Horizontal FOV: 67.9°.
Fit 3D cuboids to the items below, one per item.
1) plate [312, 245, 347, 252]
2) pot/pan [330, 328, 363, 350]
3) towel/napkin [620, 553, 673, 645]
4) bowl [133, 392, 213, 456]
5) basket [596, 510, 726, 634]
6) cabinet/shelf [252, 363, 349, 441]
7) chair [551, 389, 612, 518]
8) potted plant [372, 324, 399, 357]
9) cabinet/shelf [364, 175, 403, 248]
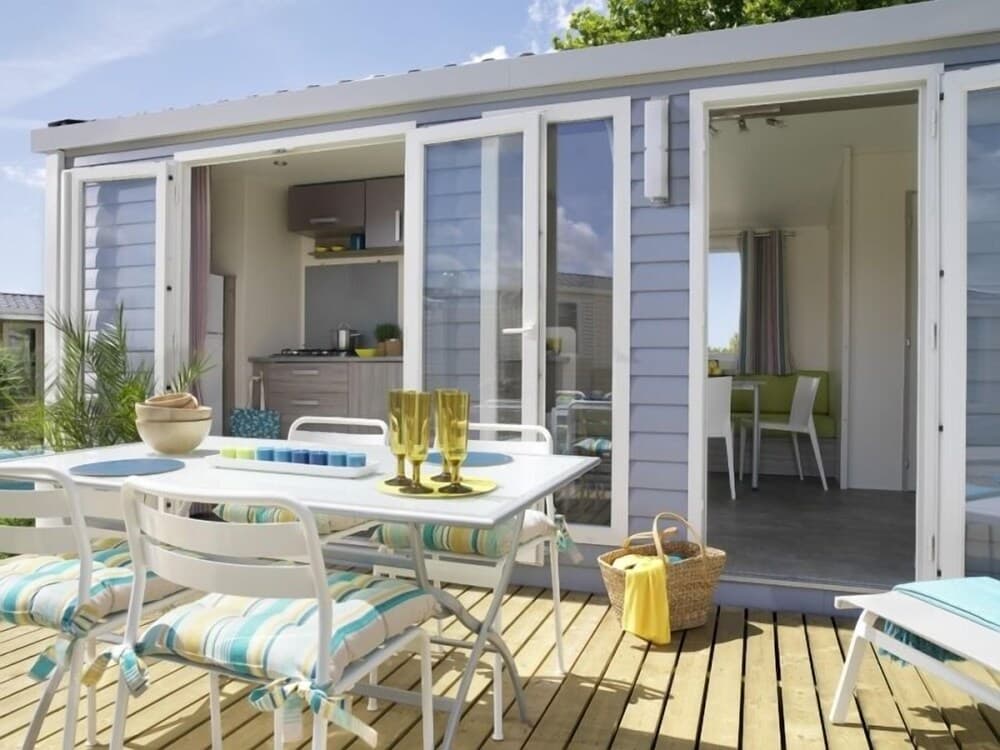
[{"bbox_3d":[-1.590,-1.175,6.927,0.432,0.063,0.149,6,12,31],"label":"plate"},{"bbox_3d":[-1.380,-0.339,6.731,0.304,0.186,0.311,-2,10,-11],"label":"pot/pan"},{"bbox_3d":[0.648,0.994,3.366,0.196,0.339,0.240,4,4,19],"label":"towel/napkin"},{"bbox_3d":[-1.231,0.158,2.853,0.237,0.250,0.196,5,2,18],"label":"bowl"},{"bbox_3d":[0.805,0.896,3.604,0.648,0.561,0.454,1,-4,-33],"label":"basket"},{"bbox_3d":[-1.620,0.388,6.496,0.993,0.965,0.561,-1,-2,12],"label":"cabinet/shelf"},{"bbox_3d":[0.433,0.418,4.031,0.282,0.627,0.323,4,3,12],"label":"chair"},{"bbox_3d":[-0.985,-0.325,6.560,0.226,0.250,0.526,-2,10,-10],"label":"potted plant"},{"bbox_3d":[-1.006,-1.417,6.439,0.380,0.582,0.115,4,11,20],"label":"cabinet/shelf"}]
